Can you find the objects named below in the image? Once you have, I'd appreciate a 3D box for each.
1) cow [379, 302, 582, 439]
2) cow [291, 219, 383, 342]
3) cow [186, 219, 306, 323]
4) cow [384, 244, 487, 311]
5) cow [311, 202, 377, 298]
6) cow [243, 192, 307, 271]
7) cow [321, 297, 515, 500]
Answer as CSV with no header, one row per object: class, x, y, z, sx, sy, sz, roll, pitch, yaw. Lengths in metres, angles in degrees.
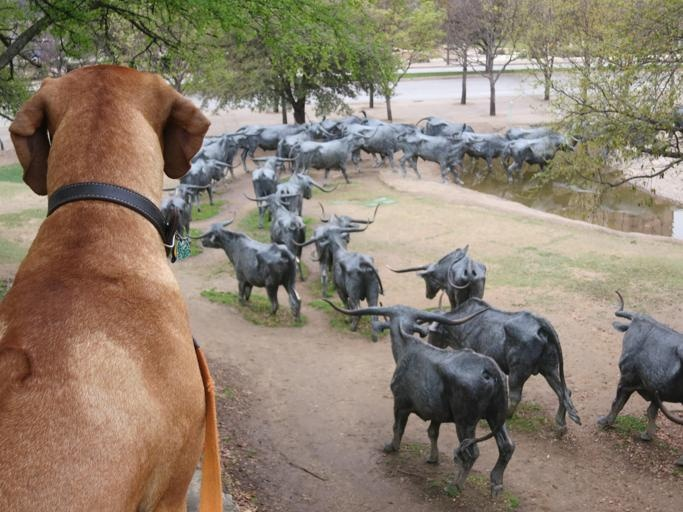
cow,2.450,1.633,10.757,0.907,1.817,3.116,-3,5,-36
cow,-0.104,0.437,14.756,1.399,1.668,2.801,-11,24,-13
cow,-2.124,0.343,15.157,3.014,1.727,0.814,17,25,32
cow,1.970,0.451,12.927,1.116,1.055,1.806,-3,12,-26
cow,-0.108,0.025,17.001,1.495,1.632,2.973,4,30,-3
cow,-1.668,-0.768,17.714,1.190,1.534,2.677,-6,30,-18
cow,1.338,2.004,9.451,1.817,2.297,3.376,1,6,-26
